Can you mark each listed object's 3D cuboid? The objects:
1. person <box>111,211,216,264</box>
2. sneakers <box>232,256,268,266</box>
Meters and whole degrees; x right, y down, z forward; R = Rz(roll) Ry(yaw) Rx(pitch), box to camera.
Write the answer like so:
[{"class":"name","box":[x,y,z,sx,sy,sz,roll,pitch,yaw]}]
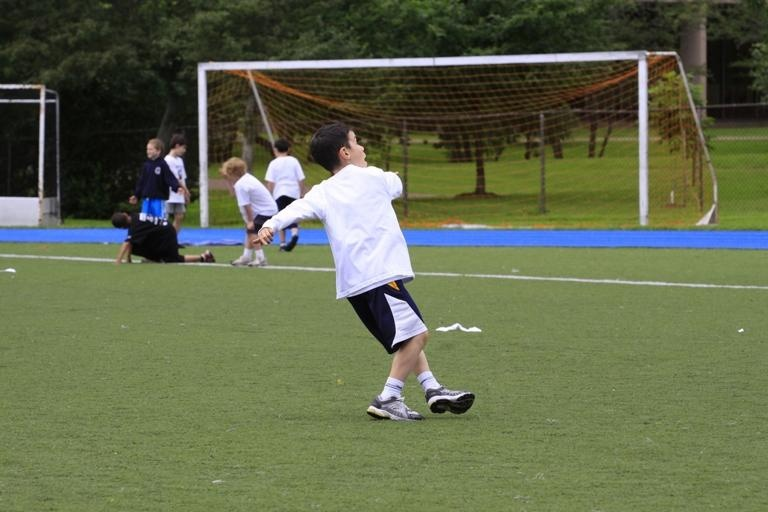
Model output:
[{"class":"person","box":[-4.076,-0.262,30.612,2.074,0.821,0.908,6,-3,5]},{"class":"sneakers","box":[-2.435,0.118,30.214,0.662,0.248,0.207,2,-3,-5]}]
